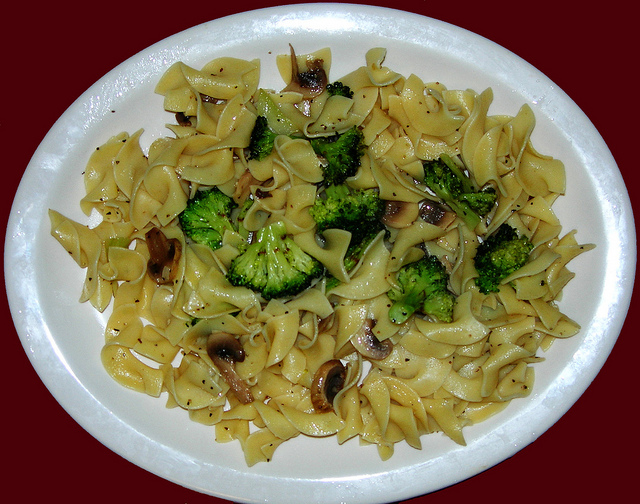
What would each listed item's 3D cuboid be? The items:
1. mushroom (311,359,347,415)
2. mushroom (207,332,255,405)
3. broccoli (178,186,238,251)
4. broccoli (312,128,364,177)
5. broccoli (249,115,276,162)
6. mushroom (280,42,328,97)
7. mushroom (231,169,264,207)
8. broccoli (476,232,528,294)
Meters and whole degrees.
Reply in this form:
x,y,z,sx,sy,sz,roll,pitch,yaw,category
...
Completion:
x,y,z,sx,sy,sz,roll,pitch,yaw,category
0.039,0.992,5.255,0.110,0.261,0.404,13,83,43,mushroom
-0.686,0.841,5.370,0.250,0.140,0.597,-23,91,1,mushroom
-0.830,-0.270,5.295,0.451,0.106,0.433,-39,86,-4,broccoli
0.140,-0.754,5.245,0.322,0.146,0.336,33,84,13,broccoli
-0.435,-0.860,5.272,0.169,0.080,0.357,4,86,0,broccoli
-0.099,-1.365,5.310,0.332,0.124,0.317,15,84,1,mushroom
-0.548,-0.520,5.309,0.106,0.188,0.316,32,103,47,mushroom
1.363,0.050,5.224,0.493,0.092,0.274,-42,86,-4,broccoli
